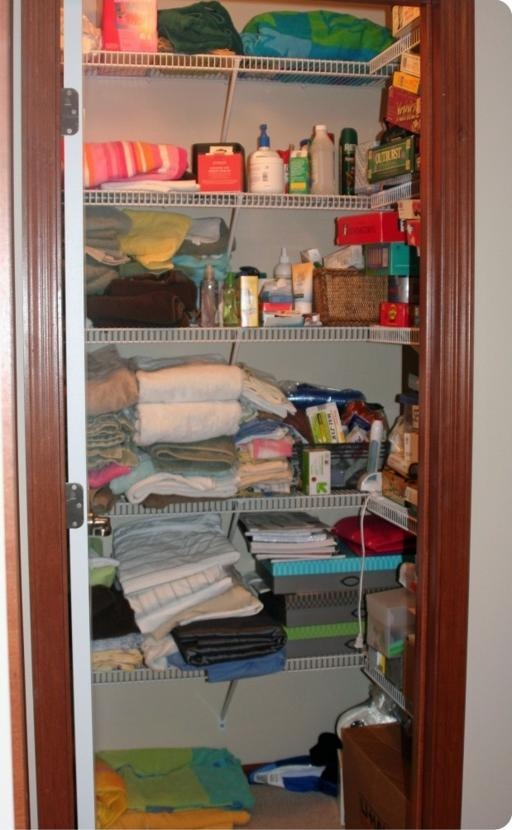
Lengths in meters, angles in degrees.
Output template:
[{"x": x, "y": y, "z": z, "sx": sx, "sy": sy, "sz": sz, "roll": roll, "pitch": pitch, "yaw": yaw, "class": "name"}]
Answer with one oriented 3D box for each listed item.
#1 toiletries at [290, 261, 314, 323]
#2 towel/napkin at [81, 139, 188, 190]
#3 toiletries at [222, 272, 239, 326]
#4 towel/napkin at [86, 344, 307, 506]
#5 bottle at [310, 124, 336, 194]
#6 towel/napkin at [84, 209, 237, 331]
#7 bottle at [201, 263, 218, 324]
[{"x": 0.122, "y": -0.310, "z": 1.842, "sx": 0.041, "sy": 0.148, "sz": 0.077, "roll": -13, "pitch": 13, "yaw": -42, "class": "toiletries"}, {"x": -0.286, "y": -0.569, "z": 1.632, "sx": 0.269, "sy": 0.127, "sz": 0.114, "roll": -9, "pitch": 10, "yaw": -40, "class": "towel/napkin"}, {"x": -0.062, "y": -0.281, "z": 1.765, "sx": 0.039, "sy": 0.139, "sz": 0.038, "roll": 3, "pitch": 18, "yaw": 12, "class": "toiletries"}, {"x": -0.143, "y": 0.000, "z": 1.643, "sx": 0.369, "sy": 0.175, "sz": 0.390, "roll": -4, "pitch": 21, "yaw": -12, "class": "towel/napkin"}, {"x": 0.167, "y": -0.640, "z": 1.816, "sx": 0.059, "sy": 0.171, "sz": 0.069, "roll": -5, "pitch": 17, "yaw": -11, "class": "bottle"}, {"x": -0.256, "y": -0.343, "z": 1.684, "sx": 0.253, "sy": 0.108, "sz": 0.343, "roll": 0, "pitch": -4, "yaw": -25, "class": "towel/napkin"}, {"x": -0.095, "y": -0.293, "z": 1.755, "sx": 0.036, "sy": 0.153, "sz": 0.036, "roll": -13, "pitch": 15, "yaw": 3, "class": "bottle"}]
